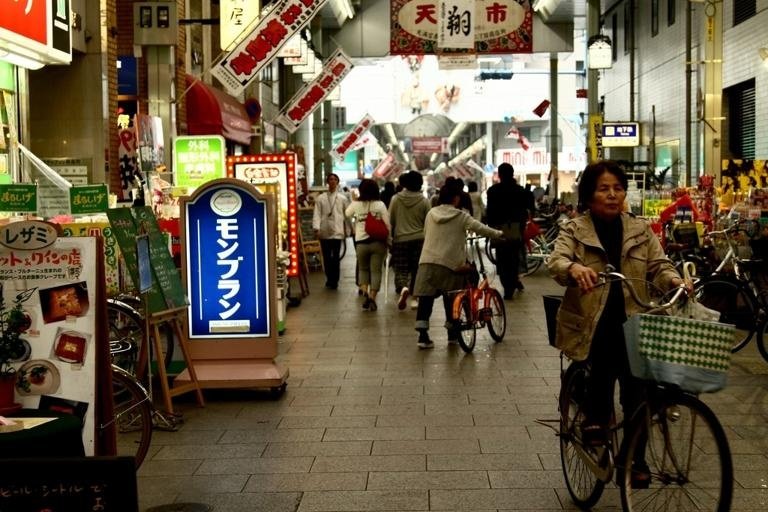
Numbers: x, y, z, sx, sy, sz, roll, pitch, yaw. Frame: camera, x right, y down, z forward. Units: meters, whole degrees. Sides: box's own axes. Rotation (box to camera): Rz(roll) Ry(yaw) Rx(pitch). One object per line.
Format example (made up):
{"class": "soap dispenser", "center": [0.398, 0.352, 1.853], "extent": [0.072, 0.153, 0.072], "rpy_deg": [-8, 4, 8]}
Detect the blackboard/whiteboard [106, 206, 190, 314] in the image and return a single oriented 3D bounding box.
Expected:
{"class": "blackboard/whiteboard", "center": [-2.192, 0.076, 6.120], "extent": [0.101, 0.977, 0.900], "rpy_deg": [-20, 14, 14]}

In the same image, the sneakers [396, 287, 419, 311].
{"class": "sneakers", "center": [0.329, 0.770, 10.378], "extent": [0.196, 0.589, 0.239], "rpy_deg": [7, 42, -11]}

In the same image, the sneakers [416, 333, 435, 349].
{"class": "sneakers", "center": [0.501, 1.063, 8.355], "extent": [0.105, 0.212, 0.299], "rpy_deg": [3, 11, 36]}

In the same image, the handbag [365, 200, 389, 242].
{"class": "handbag", "center": [-0.159, -0.478, 10.957], "extent": [0.381, 0.414, 0.221], "rpy_deg": [11, -13, -33]}

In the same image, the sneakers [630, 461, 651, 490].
{"class": "sneakers", "center": [1.380, 1.206, 3.662], "extent": [0.095, 0.126, 0.139], "rpy_deg": [0, -5, 4]}

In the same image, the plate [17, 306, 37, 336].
{"class": "plate", "center": [-2.186, 0.398, 4.075], "extent": [0.046, 0.133, 0.132], "rpy_deg": [6, 16, 38]}

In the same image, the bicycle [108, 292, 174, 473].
{"class": "bicycle", "center": [-2.090, 0.969, 5.807], "extent": [0.575, 0.967, 2.697], "rpy_deg": [-6, 9, -21]}
